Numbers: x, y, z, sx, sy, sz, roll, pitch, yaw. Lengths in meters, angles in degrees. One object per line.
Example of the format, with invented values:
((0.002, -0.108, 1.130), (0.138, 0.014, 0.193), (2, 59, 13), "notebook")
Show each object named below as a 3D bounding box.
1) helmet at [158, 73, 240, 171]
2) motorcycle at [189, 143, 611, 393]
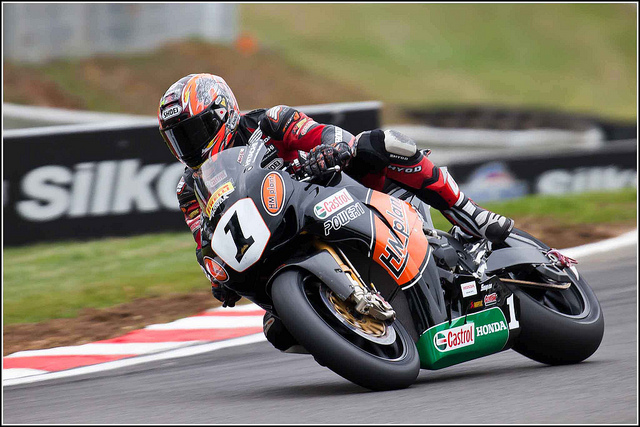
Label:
((-0.853, -0.642, 4.818), (0.483, 0.655, 0.418), (-1, 13, 15), "helmet")
((0.593, 0.365, 4.936), (2.620, 1.837, 0.992), (-9, 13, -26), "motorcycle")
